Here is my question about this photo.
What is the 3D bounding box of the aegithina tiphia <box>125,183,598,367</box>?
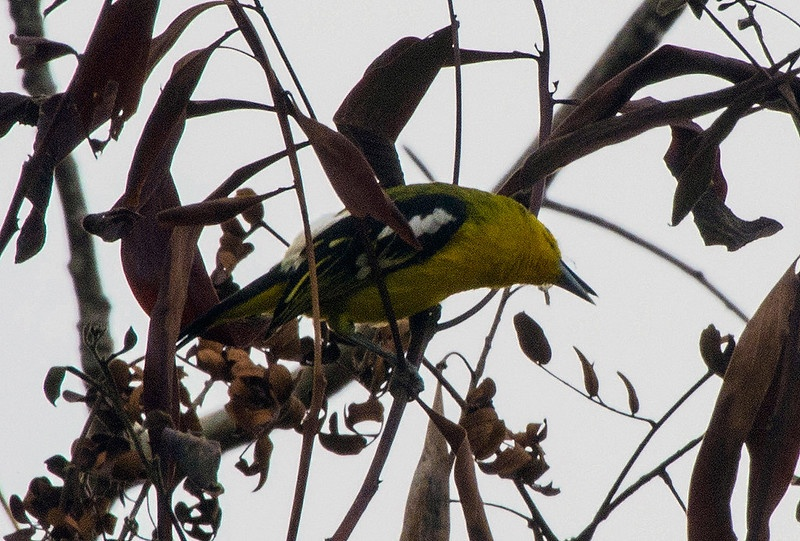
[{"bbox_3d":[-0.052,0.020,3.727,1.036,0.418,0.296,3,-14,21],"label":"aegithina tiphia"}]
